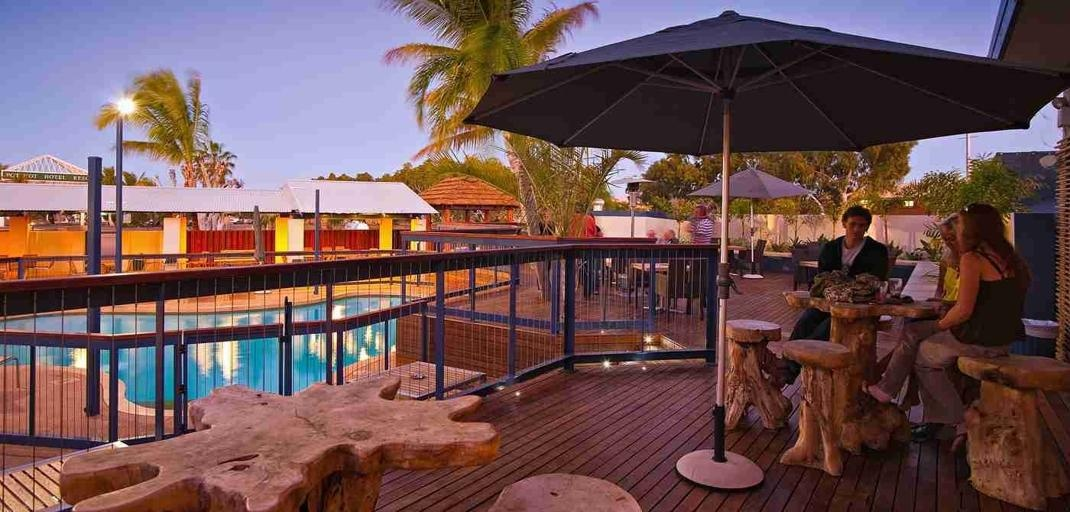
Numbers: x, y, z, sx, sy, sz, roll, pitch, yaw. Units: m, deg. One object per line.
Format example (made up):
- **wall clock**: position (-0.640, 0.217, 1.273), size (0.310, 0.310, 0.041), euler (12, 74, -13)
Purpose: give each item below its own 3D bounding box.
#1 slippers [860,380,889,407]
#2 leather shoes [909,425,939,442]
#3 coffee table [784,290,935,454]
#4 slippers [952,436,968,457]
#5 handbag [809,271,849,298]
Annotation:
- **slippers**: position (6.160, 2.459, 12.177), size (0.447, 0.251, 0.182), euler (43, 21, 22)
- **leather shoes**: position (7.183, 3.223, 12.422), size (0.690, 0.258, 0.216), euler (-14, 41, 33)
- **coffee table**: position (5.929, 1.695, 12.356), size (2.238, 1.272, 2.017), euler (1, 5, 0)
- **slippers**: position (7.627, 3.347, 12.101), size (0.407, 0.273, 0.146), euler (-31, 25, -25)
- **handbag**: position (5.479, 0.534, 12.521), size (0.571, 0.163, 0.523), euler (-12, 36, 34)
